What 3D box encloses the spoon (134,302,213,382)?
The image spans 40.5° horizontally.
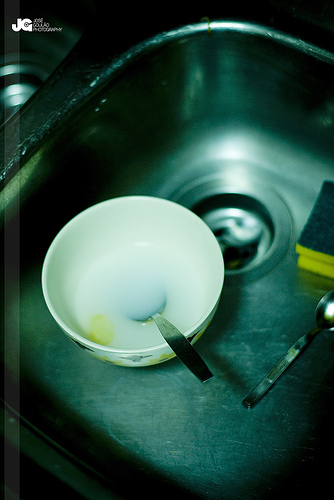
[{"bbox_3d":[0.006,0.070,0.355,0.033,0.016,0.094,-32,44,-13],"label":"spoon"}]

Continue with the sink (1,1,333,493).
[{"bbox_3d":[0.016,0.036,0.629,0.511,0.196,0.469,12,63,9],"label":"sink"}]

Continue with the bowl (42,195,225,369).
[{"bbox_3d":[-0.030,0.036,0.431,0.160,0.071,0.151,-4,60,7],"label":"bowl"}]
